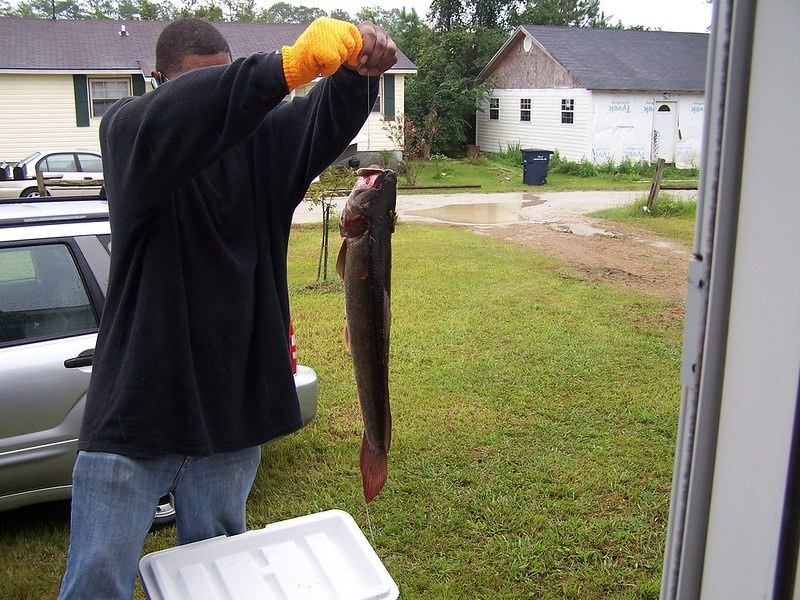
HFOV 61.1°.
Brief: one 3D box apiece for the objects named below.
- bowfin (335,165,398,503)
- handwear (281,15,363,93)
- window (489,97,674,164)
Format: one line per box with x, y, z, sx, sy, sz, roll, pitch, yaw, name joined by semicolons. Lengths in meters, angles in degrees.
-0.116;0.105;2.460;0.259;1.197;0.230;-5;-5;40;bowfin
-0.223;-0.747;2.063;0.165;0.210;0.292;13;20;41;handwear
7.352;-7.219;28.056;7.982;2.803;5.095;7;17;24;window
